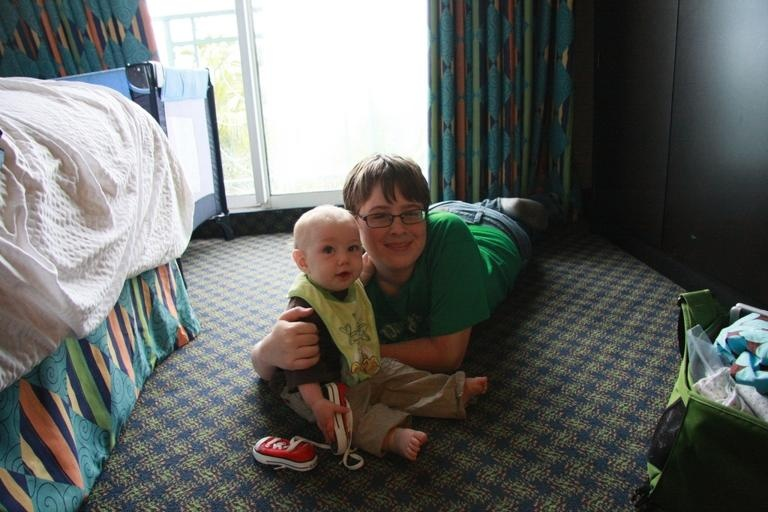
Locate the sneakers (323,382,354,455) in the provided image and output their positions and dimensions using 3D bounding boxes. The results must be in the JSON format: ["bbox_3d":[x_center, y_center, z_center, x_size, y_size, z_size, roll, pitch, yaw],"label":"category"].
[{"bbox_3d":[-0.115,0.444,1.439,0.065,0.200,0.073,-23,-16,33],"label":"sneakers"}]

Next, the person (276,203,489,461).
[{"bbox_3d":[-0.060,0.124,1.729,0.664,0.776,0.516,3,18,33],"label":"person"}]

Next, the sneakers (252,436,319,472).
[{"bbox_3d":[-0.263,0.530,1.428,0.144,0.059,0.085,11,11,18],"label":"sneakers"}]
